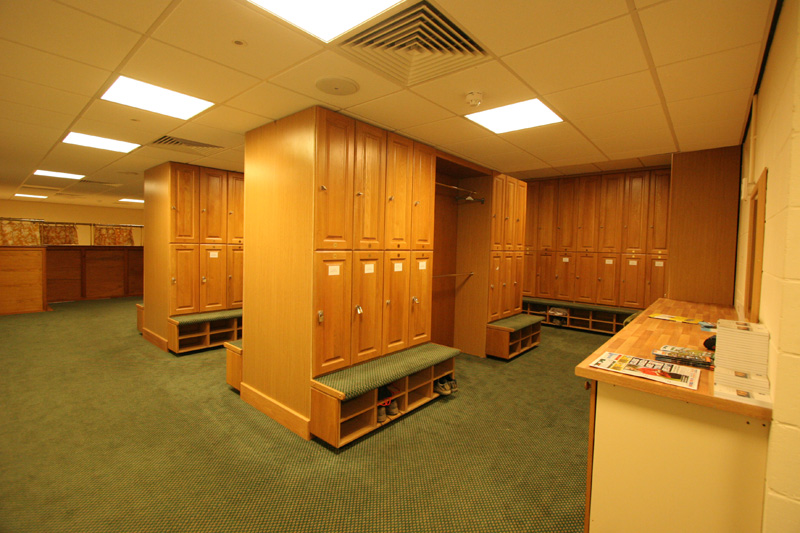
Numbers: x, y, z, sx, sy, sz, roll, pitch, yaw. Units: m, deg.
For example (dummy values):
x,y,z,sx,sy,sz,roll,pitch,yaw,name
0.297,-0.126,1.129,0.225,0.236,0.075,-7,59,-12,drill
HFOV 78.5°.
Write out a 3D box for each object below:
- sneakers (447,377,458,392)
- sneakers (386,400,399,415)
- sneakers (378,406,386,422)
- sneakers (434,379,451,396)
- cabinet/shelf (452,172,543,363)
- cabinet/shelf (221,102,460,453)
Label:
x,y,z,sx,sy,sz,roll,pitch,yaw,name
0.635,1.434,5.944,0.078,0.078,0.209,-2,6,-5,sneakers
-0.070,1.524,5.274,0.079,0.077,0.190,-2,6,-12,sneakers
-0.183,1.558,5.133,0.066,0.070,0.174,0,5,1,sneakers
0.501,1.448,5.830,0.103,0.102,0.250,-4,7,-24,sneakers
1.476,-0.028,7.319,1.242,2.685,0.793,-1,4,-32,cabinet/shelf
-0.052,-0.059,7.285,3.324,4.415,2.984,3,5,45,cabinet/shelf
